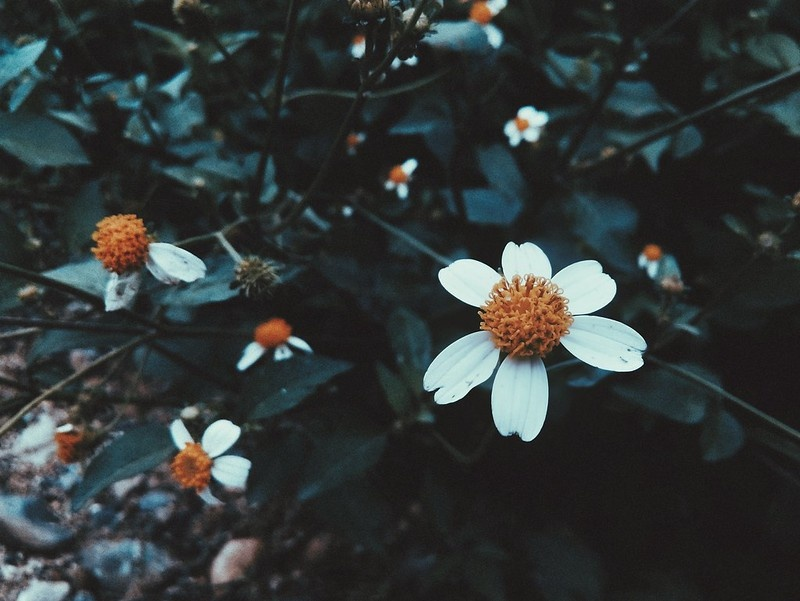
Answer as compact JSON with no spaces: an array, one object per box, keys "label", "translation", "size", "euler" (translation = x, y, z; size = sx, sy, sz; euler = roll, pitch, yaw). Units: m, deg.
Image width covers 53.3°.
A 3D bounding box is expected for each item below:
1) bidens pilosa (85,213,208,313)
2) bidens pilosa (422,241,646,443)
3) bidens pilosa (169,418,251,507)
[{"label":"bidens pilosa","translation":[-0.281,-0.054,0.896],"size":[0.137,0.103,0.057],"euler":[-3,76,10]},{"label":"bidens pilosa","translation":[0.158,0.028,0.891],"size":[0.227,0.092,0.234],"euler":[-16,19,-17]},{"label":"bidens pilosa","translation":[-0.199,0.170,0.843],"size":[0.085,0.072,0.060],"euler":[-8,34,9]}]
